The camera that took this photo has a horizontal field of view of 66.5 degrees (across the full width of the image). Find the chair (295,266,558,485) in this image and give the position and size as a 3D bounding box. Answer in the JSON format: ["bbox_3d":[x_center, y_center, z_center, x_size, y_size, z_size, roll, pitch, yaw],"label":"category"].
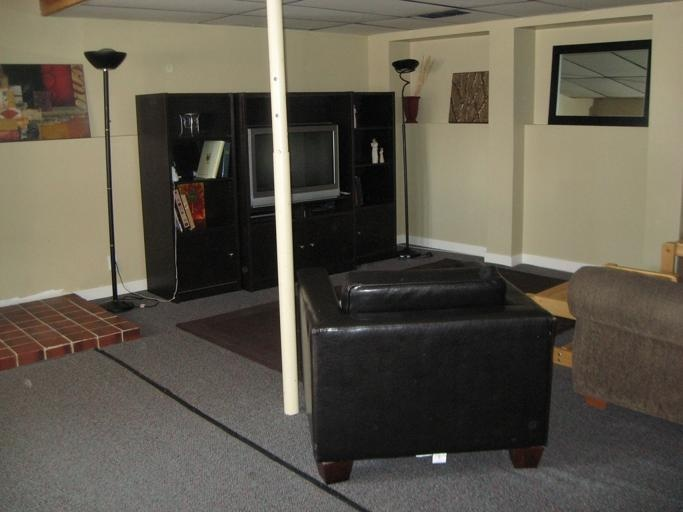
[{"bbox_3d":[0.438,0.558,3.146,1.247,1.066,1.113,-2,12,-5],"label":"chair"}]

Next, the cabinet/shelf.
[{"bbox_3d":[-0.913,-0.599,5.358,2.233,1.542,0.562,-12,17,-39],"label":"cabinet/shelf"}]

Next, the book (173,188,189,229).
[{"bbox_3d":[-1.609,-0.456,5.294,0.073,0.316,0.314,-8,-5,15],"label":"book"}]

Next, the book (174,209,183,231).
[{"bbox_3d":[-1.640,-0.349,5.269,0.047,0.159,0.101,-16,7,5],"label":"book"}]

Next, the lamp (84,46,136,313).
[{"bbox_3d":[-2.207,-0.717,5.114,0.478,2.425,0.748,-8,18,-21],"label":"lamp"}]

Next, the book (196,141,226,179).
[{"bbox_3d":[-1.418,-1.034,5.580,0.310,0.389,0.260,13,22,38],"label":"book"}]

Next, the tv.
[{"bbox_3d":[-0.513,-0.938,5.329,1.112,0.926,0.382,-8,9,-38],"label":"tv"}]
